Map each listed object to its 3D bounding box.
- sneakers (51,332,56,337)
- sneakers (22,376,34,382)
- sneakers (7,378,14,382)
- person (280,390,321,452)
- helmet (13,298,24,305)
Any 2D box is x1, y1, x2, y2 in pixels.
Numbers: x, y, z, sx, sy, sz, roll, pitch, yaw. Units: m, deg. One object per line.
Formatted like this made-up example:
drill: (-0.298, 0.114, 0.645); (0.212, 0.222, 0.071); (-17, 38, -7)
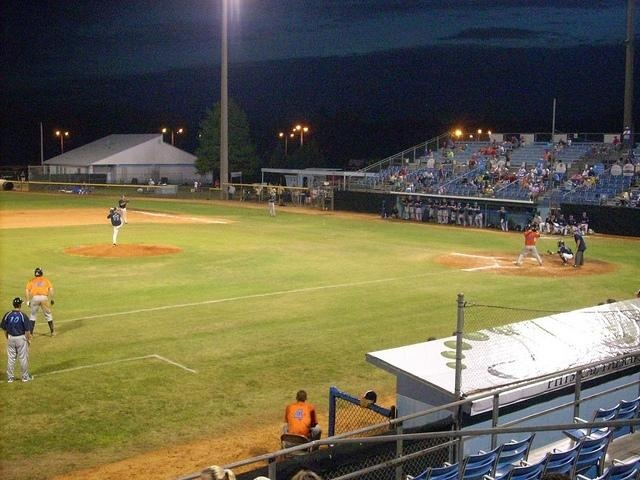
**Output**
sneakers: (-7.419, 2.650, 18.324); (0.115, 0.117, 0.111); (1, 3, -2)
sneakers: (-6.808, 3.235, 15.323); (0.244, 0.152, 0.077); (-3, 48, -27)
sneakers: (-7.175, 3.255, 15.243); (0.081, 0.042, 0.121); (0, 10, -20)
person: (-0.352, 3.352, 12.128); (0.694, 0.891, 1.183); (-1, 4, -1)
helmet: (-7.047, 1.472, 15.324); (0.186, 0.179, 0.233); (1, 8, -11)
